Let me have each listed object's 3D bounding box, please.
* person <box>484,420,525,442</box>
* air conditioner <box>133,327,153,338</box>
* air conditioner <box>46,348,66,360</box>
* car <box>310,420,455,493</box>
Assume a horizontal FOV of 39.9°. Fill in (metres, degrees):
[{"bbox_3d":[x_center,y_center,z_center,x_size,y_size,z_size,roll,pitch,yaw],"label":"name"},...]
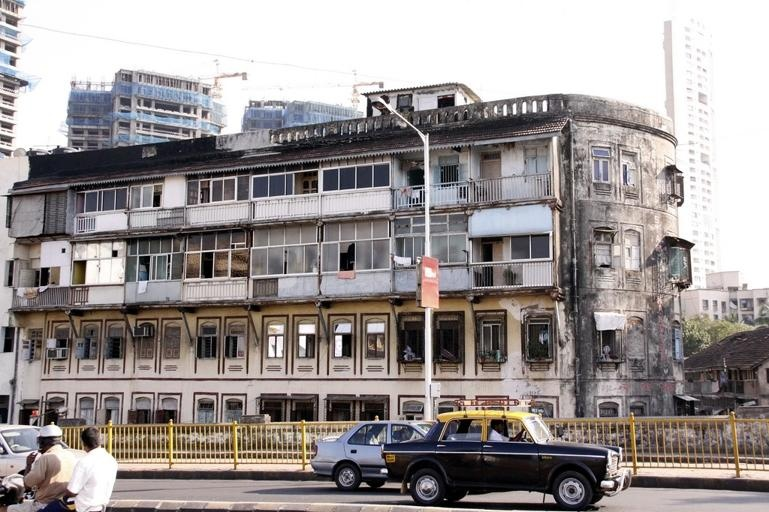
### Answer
[{"bbox_3d":[4.904,7.189,43.173,1.172,0.783,0.832,-8,-4,7],"label":"person"},{"bbox_3d":[-16.111,5.026,70.571,1.377,0.704,0.526,-4,-10,12],"label":"air conditioner"},{"bbox_3d":[-22.432,6.715,72.319,1.417,0.731,0.996,4,-1,-6],"label":"air conditioner"},{"bbox_3d":[-0.731,8.817,47.071,4.917,1.831,2.661,-5,-9,15],"label":"car"}]
